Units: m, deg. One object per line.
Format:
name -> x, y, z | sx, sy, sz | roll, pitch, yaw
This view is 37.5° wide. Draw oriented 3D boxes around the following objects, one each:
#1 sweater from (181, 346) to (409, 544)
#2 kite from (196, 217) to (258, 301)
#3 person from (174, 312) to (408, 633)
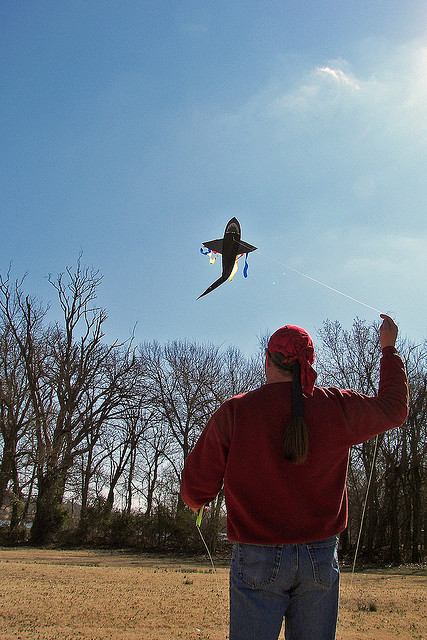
sweater -> 0.436, 0.574, 3.240 | 1.019, 1.060, 0.631 | 0, 6, 20
kite -> 0.196, -0.712, 5.592 | 0.580, 0.368, 0.808 | -26, -23, -3
person -> 0.425, 0.768, 3.184 | 1.138, 1.429, 0.524 | -1, -3, -24
